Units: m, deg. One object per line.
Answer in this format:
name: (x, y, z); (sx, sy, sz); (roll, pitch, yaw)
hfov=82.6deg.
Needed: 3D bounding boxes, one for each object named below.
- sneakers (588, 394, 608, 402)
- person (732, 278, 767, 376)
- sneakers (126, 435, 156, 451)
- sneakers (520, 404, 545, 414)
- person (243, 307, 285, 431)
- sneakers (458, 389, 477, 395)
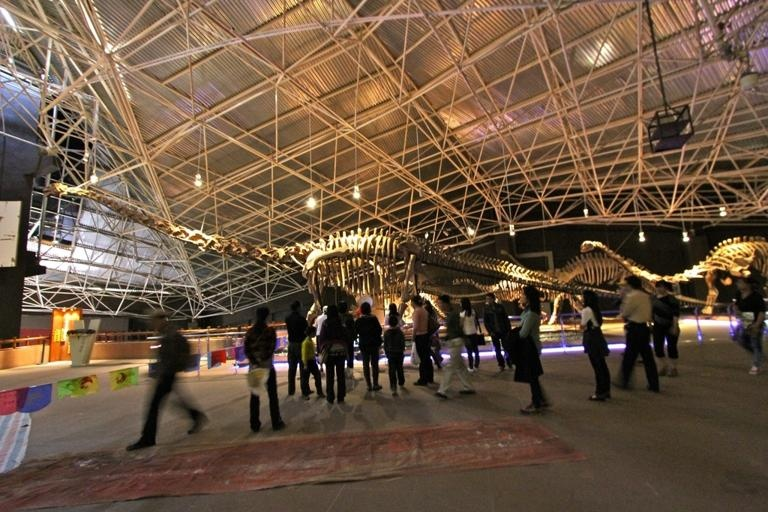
sneakers: (3.857, 2.583, 7.916); (0.320, 0.114, 0.120); (0, -12, 16)
person: (7.258, 1.368, 8.671); (0.355, 1.867, 0.657); (-3, 11, 10)
sneakers: (-3.986, 3.123, 7.264); (0.579, 0.292, 0.172); (0, -9, 0)
sneakers: (2.554, 2.655, 7.547); (0.330, 0.116, 0.190); (-6, -6, 3)
person: (-2.228, 2.034, 7.797); (0.653, 2.185, 0.919); (-8, 11, -17)
sneakers: (1.617, 2.692, 8.634); (0.352, 0.145, 0.118); (2, -10, 9)
